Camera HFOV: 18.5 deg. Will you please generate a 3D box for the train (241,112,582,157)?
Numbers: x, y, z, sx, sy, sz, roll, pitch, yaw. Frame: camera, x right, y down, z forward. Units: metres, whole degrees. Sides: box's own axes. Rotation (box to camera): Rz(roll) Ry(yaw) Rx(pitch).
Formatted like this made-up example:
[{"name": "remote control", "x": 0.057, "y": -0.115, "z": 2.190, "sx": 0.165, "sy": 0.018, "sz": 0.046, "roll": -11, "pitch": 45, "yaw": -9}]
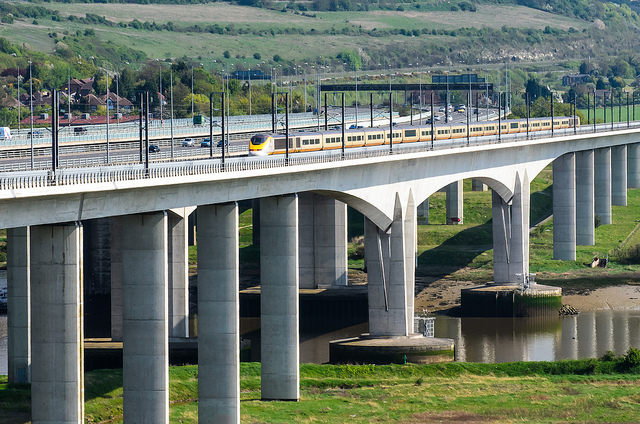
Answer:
[{"name": "train", "x": 14.961, "y": -12.607, "z": 324.538, "sx": 80.166, "sy": 4.031, "sz": 4.280, "roll": -5, "pitch": -3, "yaw": -33}]
